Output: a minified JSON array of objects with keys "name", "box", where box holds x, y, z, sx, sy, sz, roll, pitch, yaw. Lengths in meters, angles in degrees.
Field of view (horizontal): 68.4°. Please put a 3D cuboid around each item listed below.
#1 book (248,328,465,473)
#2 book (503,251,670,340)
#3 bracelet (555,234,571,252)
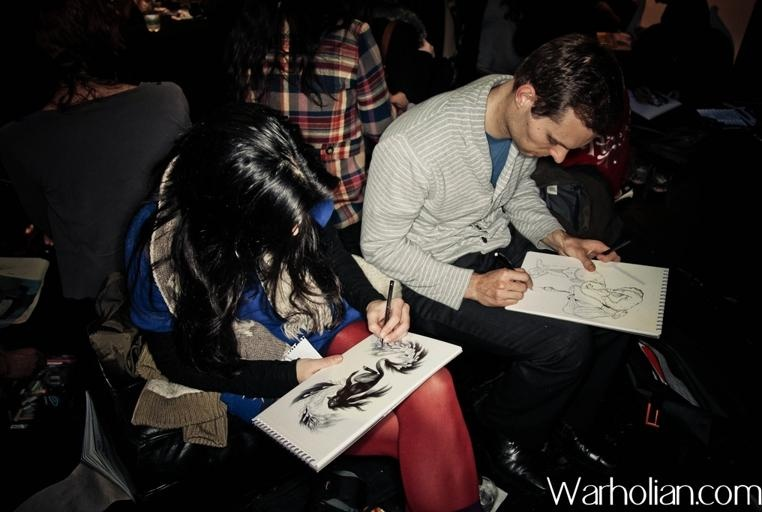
[{"name":"book","box":[-0.115,0.608,2.451,0.526,0.114,0.877,25,47,39]},{"name":"book","box":[1.073,0.193,2.866,0.627,0.132,0.469,12,49,19]},{"name":"bracelet","box":[1.017,-0.077,3.132,0.043,0.036,0.152,-3,55,9]}]
